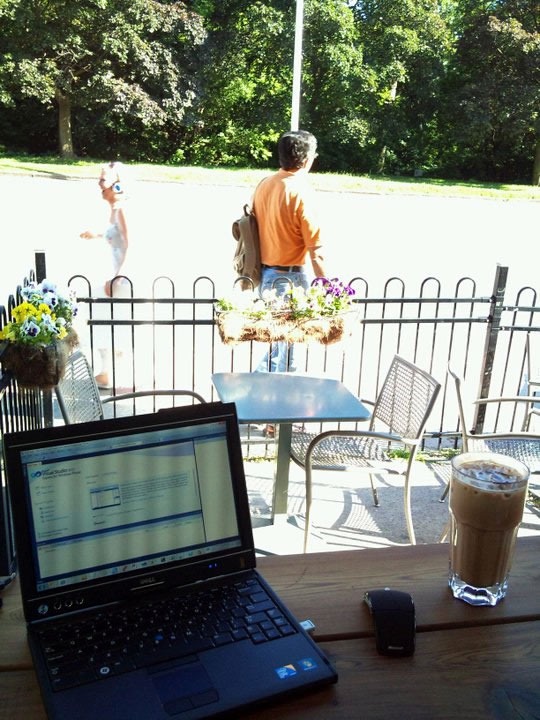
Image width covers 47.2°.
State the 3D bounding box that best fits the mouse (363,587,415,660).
[{"bbox_3d":[0.203,0.424,1.009,0.123,0.054,0.125,2,13,1],"label":"mouse"}]

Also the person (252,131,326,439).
[{"bbox_3d":[0.153,-0.726,4.767,0.557,2.026,0.656,-25,41,-37],"label":"person"}]

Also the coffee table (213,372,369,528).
[{"bbox_3d":[0.093,0.614,3.345,0.649,0.943,0.647,-2,17,-16],"label":"coffee table"}]

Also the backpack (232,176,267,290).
[{"bbox_3d":[-0.155,-0.857,4.503,0.199,0.652,0.172,12,23,0],"label":"backpack"}]

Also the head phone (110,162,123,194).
[{"bbox_3d":[-1.319,-1.551,5.288,0.101,0.262,0.213,-4,17,-14],"label":"head phone"}]
